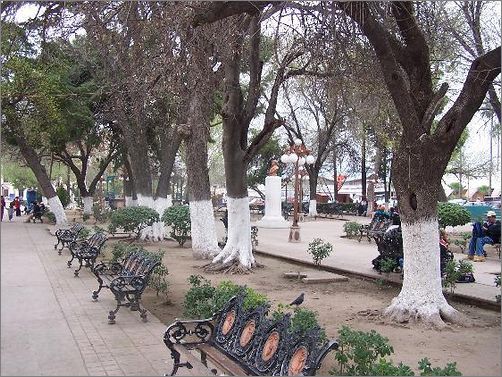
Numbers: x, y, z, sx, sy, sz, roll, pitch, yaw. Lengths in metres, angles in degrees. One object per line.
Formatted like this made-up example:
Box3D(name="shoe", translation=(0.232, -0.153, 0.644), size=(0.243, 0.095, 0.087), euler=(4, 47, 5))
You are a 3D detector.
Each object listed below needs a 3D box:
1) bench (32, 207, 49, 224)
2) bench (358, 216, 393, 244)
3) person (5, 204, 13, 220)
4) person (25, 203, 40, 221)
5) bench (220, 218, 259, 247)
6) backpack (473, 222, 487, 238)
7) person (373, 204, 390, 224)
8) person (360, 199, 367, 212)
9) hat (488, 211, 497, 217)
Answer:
Box3D(name="bench", translation=(-16.323, 2.067, 35.105), size=(1.244, 1.812, 1.181), euler=(3, -4, -38))
Box3D(name="bench", translation=(5.883, 1.894, 21.646), size=(1.256, 1.440, 2.477), euler=(-2, -7, -12))
Box3D(name="person", translation=(-19.686, 1.885, 37.009), size=(0.345, 1.478, 2.574), euler=(2, -3, -30))
Box3D(name="person", translation=(-16.764, 1.811, 34.962), size=(0.917, 1.522, 2.322), euler=(2, -3, -33))
Box3D(name="bench", translation=(-0.527, 2.034, 20.781), size=(1.719, 1.205, 4.522), euler=(1, -3, 1))
Box3D(name="backpack", translation=(8.311, 1.500, 16.494), size=(0.391, 0.605, 1.032), euler=(0, -3, 32))
Box3D(name="person", translation=(7.654, 1.484, 26.652), size=(0.388, 1.119, 0.707), euler=(-7, 16, -28))
Box3D(name="person", translation=(11.611, 1.847, 46.615), size=(0.667, 1.177, 3.124), euler=(0, -3, 13))
Box3D(name="hat", translation=(8.830, 0.920, 16.551), size=(0.294, 0.162, 0.233), euler=(0, -1, -29))
